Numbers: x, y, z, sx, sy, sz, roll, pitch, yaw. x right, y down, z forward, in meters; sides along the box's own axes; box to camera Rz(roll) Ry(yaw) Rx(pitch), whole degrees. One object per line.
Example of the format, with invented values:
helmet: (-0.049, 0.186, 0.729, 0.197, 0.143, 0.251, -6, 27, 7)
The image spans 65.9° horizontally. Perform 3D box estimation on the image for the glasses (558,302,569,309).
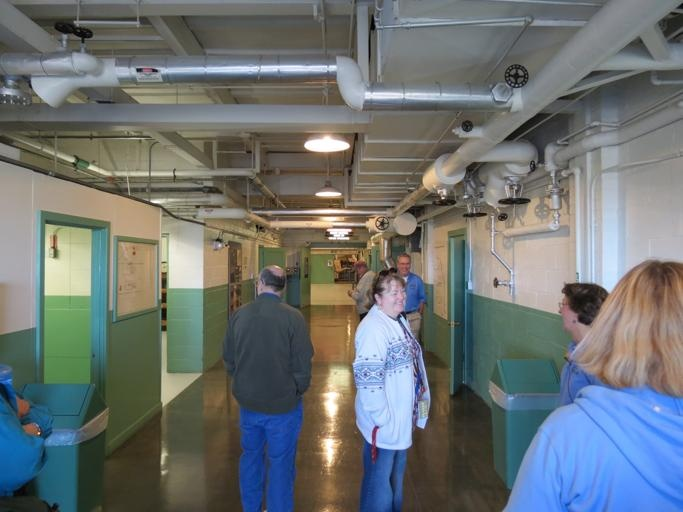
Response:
glasses: (1.657, 0.364, 3.908, 0.095, 0.028, 0.095, 14, -14, -24)

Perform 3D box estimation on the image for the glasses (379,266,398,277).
glasses: (0.395, 0.134, 4.386, 0.125, 0.085, 0.077, -11, 1, 6)
